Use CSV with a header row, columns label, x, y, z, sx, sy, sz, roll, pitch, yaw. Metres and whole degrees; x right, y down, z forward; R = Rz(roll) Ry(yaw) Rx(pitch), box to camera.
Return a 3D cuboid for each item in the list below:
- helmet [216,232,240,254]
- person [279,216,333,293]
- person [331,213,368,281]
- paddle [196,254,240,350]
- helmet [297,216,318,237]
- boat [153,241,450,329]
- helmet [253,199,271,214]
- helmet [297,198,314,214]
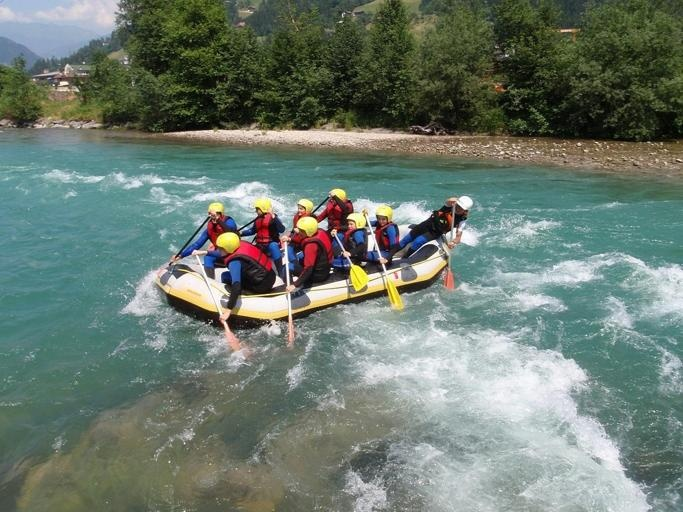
label,x,y,z,sx,sy,sz,roll,pitch,yaw
helmet,-2.019,-0.251,9.611,0.450,0.325,0.308,15,39,-31
person,-0.723,-0.145,10.335,1.136,1.132,1.720,1,23,17
person,0.168,-0.144,10.860,0.703,0.608,1.346,-17,28,-8
paddle,-2.221,0.883,9.687,0.311,0.127,2.211,-37,62,-8
helmet,-0.645,-0.575,10.079,0.468,0.326,0.293,3,35,-31
boat,-0.487,0.647,10.322,4.650,0.728,1.991,-10,18,-14
helmet,-1.612,-1.052,11.092,0.320,0.275,0.548,-7,18,-10
helmet,-0.730,-1.040,11.186,0.177,0.301,0.603,1,18,13
